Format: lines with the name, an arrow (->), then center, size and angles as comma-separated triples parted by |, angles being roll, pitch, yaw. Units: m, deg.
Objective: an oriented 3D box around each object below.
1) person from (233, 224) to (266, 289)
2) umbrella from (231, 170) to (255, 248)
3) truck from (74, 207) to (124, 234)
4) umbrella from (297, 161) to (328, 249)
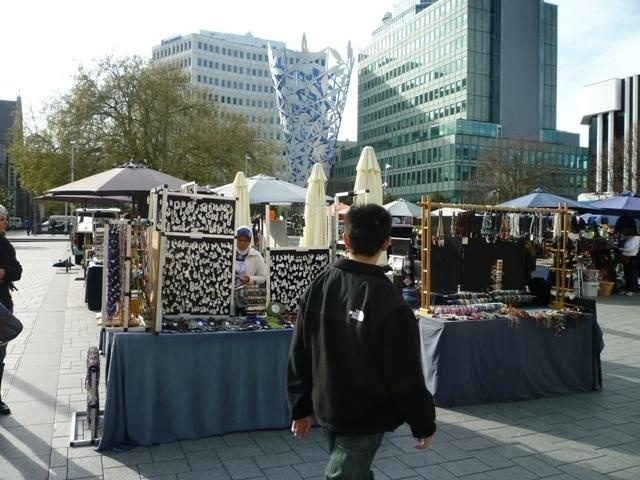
person -> -0.991, 0.268, 8.359 | 0.389, 0.935, 0.412 | 1, 7, -22
umbrella -> -1.606, -0.805, 11.887 | 0.449, 2.098, 0.587 | 2, 6, -19
truck -> -6.293, -0.564, 16.530 | 1.470, 0.947, 1.018 | -2, 1, 10
umbrella -> -0.078, -0.552, 10.451 | 0.358, 1.670, 0.426 | 1, 5, -29
